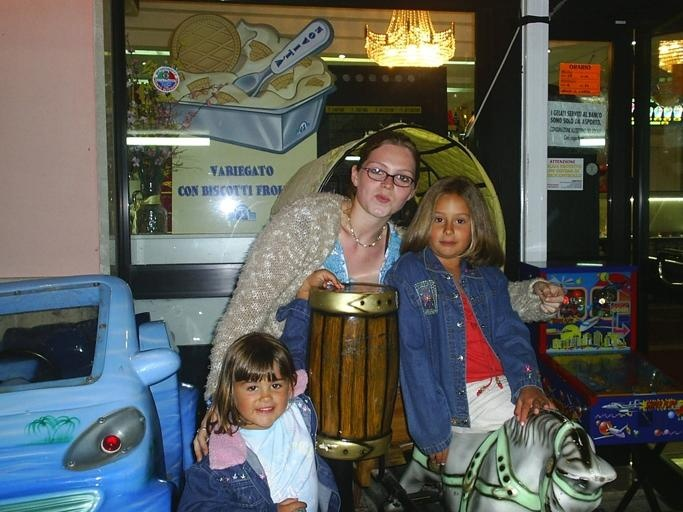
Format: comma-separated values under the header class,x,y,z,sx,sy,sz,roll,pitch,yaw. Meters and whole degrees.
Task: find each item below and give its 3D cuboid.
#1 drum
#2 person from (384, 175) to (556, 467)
class,x,y,z,sx,sy,sz,roll,pitch,yaw
drum,0.105,0.555,2.680,0.439,0.714,0.443,-1,-2,0
person,0.694,0.280,2.959,0.804,1.366,0.711,-4,14,13
